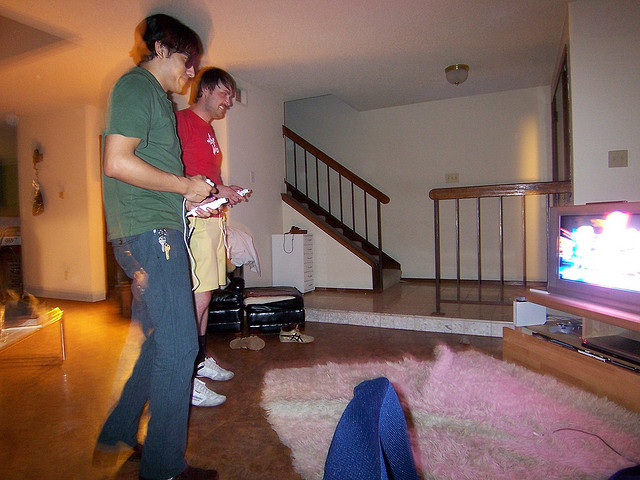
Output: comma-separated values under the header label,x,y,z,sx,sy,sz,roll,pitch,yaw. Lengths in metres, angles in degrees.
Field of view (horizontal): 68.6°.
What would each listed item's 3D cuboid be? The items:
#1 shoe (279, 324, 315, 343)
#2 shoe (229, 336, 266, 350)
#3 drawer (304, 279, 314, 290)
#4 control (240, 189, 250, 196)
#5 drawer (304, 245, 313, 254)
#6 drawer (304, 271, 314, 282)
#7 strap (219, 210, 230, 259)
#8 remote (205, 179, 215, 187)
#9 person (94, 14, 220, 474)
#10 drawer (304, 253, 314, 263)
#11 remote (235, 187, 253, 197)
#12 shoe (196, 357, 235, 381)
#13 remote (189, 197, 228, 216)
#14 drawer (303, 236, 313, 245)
label,x,y,z,sx,sy,sz,roll,pitch,yaw
shoe,-0.193,0.807,4.037,0.300,0.141,0.109,1,0,-2
shoe,-0.595,0.840,3.880,0.296,0.057,0.191,-1,1,9
drawer,-0.124,0.526,5.527,0.096,0.060,0.091,-2,0,-45
control,-0.440,-0.295,2.829,0.072,0.034,0.019,-2,7,30
drawer,-0.129,0.107,5.522,0.076,0.090,0.134,-1,3,27
drawer,-0.122,0.424,5.543,0.088,0.093,0.140,-1,1,27
strap,-0.621,-0.014,3.112,0.073,0.269,0.014,-3,17,18
remote,-0.533,-0.277,2.260,0.025,0.034,0.105,10,10,-12
person,-0.806,0.056,2.366,0.526,1.583,0.490,-1,1,-26
drawer,-0.126,0.208,5.533,0.084,0.086,0.134,-1,2,27
remote,-0.464,-0.291,2.869,0.090,0.049,0.154,-1,1,-3
shoe,-0.729,0.891,3.279,0.293,0.126,0.102,3,2,0
remote,-0.577,-0.174,2.418,0.233,0.063,0.047,-17,30,-12
drawer,-0.131,0.005,5.505,0.078,0.097,0.143,0,3,22
